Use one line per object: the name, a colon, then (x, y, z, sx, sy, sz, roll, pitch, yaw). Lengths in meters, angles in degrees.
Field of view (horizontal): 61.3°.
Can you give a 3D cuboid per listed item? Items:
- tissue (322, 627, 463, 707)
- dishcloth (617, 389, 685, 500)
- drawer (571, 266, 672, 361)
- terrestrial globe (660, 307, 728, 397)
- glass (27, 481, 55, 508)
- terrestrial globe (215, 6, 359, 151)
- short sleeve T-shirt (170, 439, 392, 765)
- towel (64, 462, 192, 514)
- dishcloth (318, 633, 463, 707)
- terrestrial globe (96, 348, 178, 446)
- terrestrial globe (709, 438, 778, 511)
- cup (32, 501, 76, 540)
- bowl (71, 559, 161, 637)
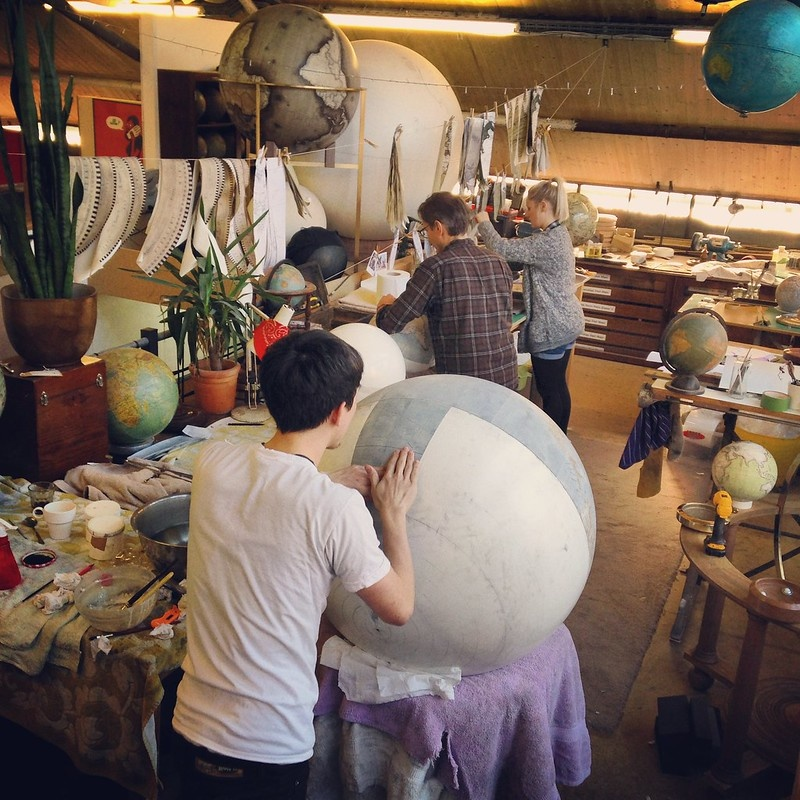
tissue: (-0.034, 0.674, 1.662, 0.262, 0.067, 0.156, 6, 46, 13)
dishcloth: (1.358, 0.249, 3.616, 0.280, 0.631, 0.335, 10, 17, 21)
drawer: (2.319, -0.923, 6.939, 1.243, 1.131, 0.423, 10, 23, 22)
terrestrial globe: (1.539, -0.251, 3.560, 0.303, 0.420, 0.262, 7, 17, 14)
glass: (-1.231, 0.334, 2.330, 0.089, 0.072, 0.093, 3, 0, 1)
terrestrial globe: (-0.755, -2.177, 4.535, 0.944, 0.940, 0.681, 1, 16, -6)
short sleeve T-shirt: (-0.261, 0.411, 1.277, 0.416, 0.622, 0.204, 11, 18, 26)
towel: (-1.025, 0.313, 2.486, 0.295, 0.083, 0.288, 8, 11, 25)
dishcloth: (-0.048, 0.683, 1.673, 0.261, 0.070, 0.156, 6, 49, 14)
terrestrial globe: (-1.142, 0.001, 2.893, 0.322, 0.341, 0.305, -26, -6, -6)
terrestrial globe: (1.524, 0.304, 3.112, 0.318, 0.342, 0.311, 6, 14, 33)
cup: (-1.104, 0.393, 2.144, 0.135, 0.087, 0.089, -1, 3, -31)
bowl: (-0.732, 0.503, 1.743, 0.177, 0.085, 0.160, 4, 32, -8)
